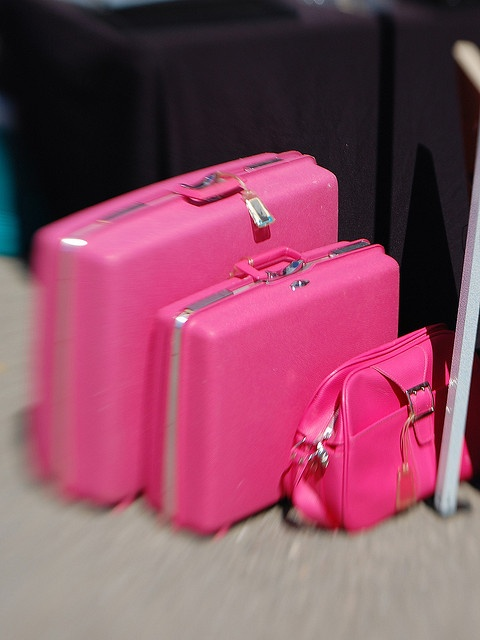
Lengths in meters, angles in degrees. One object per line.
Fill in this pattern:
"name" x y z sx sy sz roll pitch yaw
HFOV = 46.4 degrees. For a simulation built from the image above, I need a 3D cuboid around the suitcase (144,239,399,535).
"suitcase" 0.025 0.081 0.595 0.263 0.230 0.094 -22 33 -35
